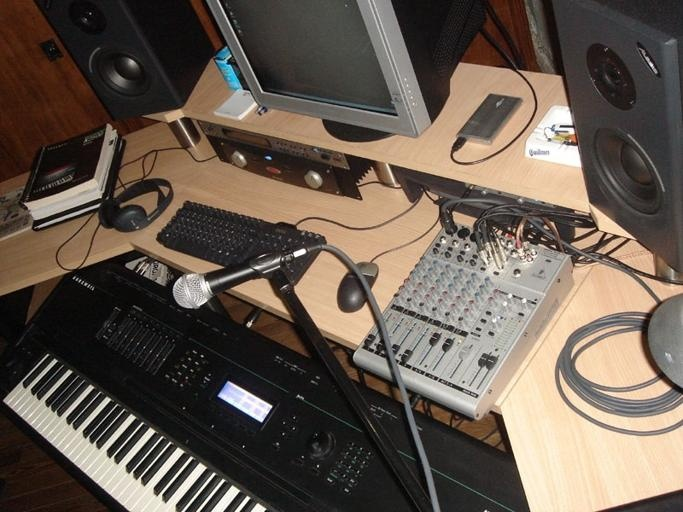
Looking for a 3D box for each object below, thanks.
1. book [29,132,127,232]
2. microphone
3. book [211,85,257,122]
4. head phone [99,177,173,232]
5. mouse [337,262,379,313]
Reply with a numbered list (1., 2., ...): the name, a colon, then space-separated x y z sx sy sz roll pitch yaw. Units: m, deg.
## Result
1. book: -0.963 -0.244 2.049 0.396 0.377 0.092 -7 -39 15
2. microphone: -0.238 0.048 1.377 0.339 0.085 0.086 -17 -38 7
3. book: -0.349 -0.494 1.720 0.130 0.132 0.031 25 -25 37
4. head phone: -0.699 -0.170 1.881 0.189 0.250 0.096 28 -34 33
5. mouse: 0.037 0.087 1.418 0.081 0.157 0.056 25 -10 22
